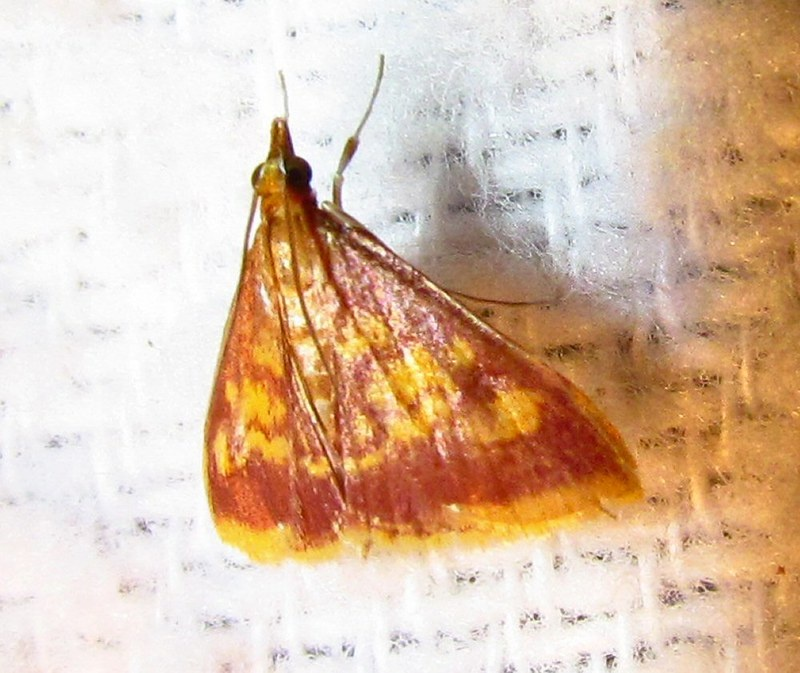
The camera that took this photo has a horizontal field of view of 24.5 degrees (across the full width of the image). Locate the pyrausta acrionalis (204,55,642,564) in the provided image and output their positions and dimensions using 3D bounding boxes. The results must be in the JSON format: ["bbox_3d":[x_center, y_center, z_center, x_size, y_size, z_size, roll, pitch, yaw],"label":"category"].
[{"bbox_3d":[0.037,0.040,2.090,0.505,0.520,0.074,5,17,-6],"label":"pyrausta acrionalis"}]
